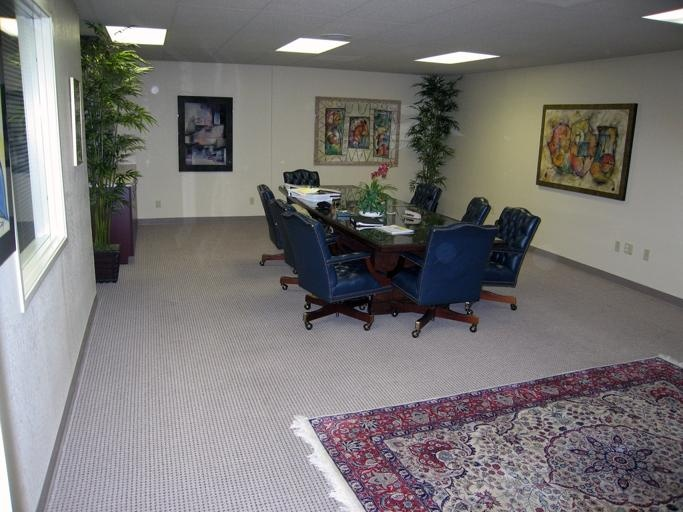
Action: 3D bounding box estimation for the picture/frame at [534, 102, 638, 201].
[{"bbox_3d":[3.555,-1.499,6.433,0.093,1.260,1.474,-6,13,-22],"label":"picture/frame"}]

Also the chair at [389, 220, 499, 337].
[{"bbox_3d":[0.982,0.166,4.560,0.808,1.098,0.913,-3,12,-22],"label":"chair"}]

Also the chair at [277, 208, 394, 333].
[{"bbox_3d":[-0.093,0.112,4.669,1.028,1.160,1.081,7,13,24],"label":"chair"}]

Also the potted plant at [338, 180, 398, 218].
[{"bbox_3d":[0.323,-0.691,5.777,0.641,0.310,0.870,-4,16,-9],"label":"potted plant"}]

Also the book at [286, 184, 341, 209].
[{"bbox_3d":[-0.289,-0.838,6.100,0.450,0.185,0.615,12,14,38],"label":"book"}]

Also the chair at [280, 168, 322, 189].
[{"bbox_3d":[-0.685,-1.302,7.556,0.431,0.530,0.437,-2,11,-16],"label":"chair"}]

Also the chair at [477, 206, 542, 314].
[{"bbox_3d":[1.633,0.022,5.072,0.908,1.021,0.850,2,17,1],"label":"chair"}]
